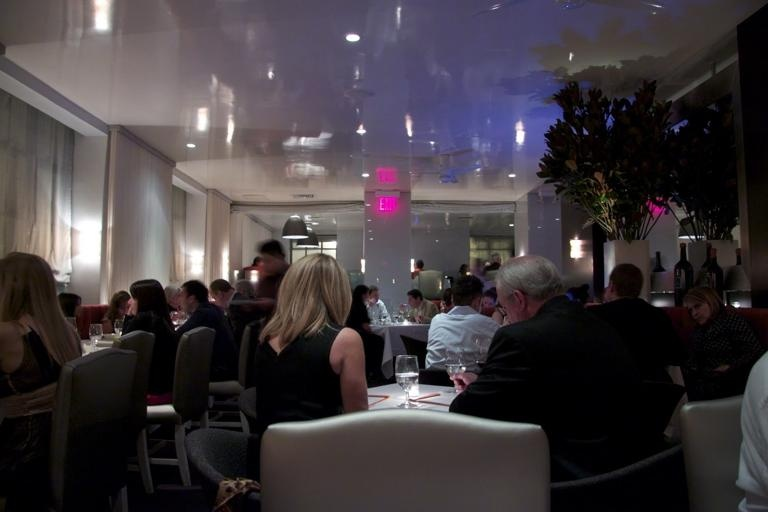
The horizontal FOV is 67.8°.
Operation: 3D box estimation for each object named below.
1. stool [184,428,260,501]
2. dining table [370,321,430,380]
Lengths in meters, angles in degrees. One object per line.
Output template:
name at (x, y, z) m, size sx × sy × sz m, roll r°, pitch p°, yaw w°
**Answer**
stool at (-0.724, 0.914, 2.549) m, size 0.316 × 0.250 × 0.492 m, roll -1°, pitch -4°, yaw -6°
dining table at (0.203, 1.190, 7.350) m, size 0.651 × 0.395 × 0.773 m, roll 0°, pitch -3°, yaw 9°
